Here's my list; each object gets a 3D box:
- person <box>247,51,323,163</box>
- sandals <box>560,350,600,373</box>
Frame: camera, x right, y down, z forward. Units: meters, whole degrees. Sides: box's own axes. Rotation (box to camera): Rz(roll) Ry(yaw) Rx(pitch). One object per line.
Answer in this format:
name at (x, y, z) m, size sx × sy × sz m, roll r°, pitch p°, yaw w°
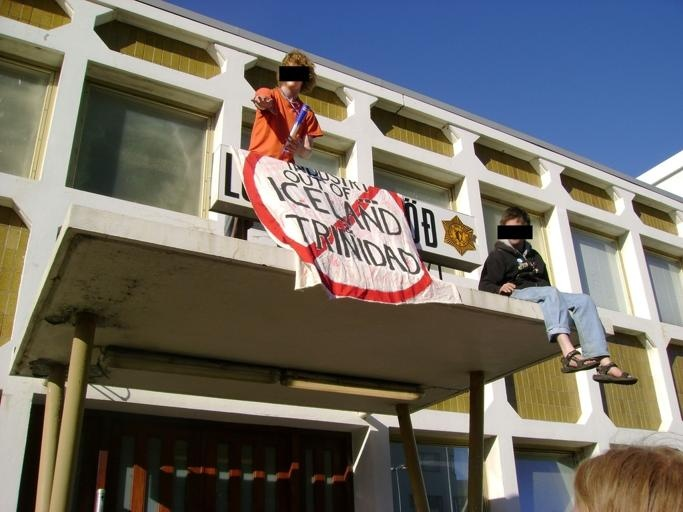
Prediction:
person at (-0.670, -1.798, 7.688) m, size 0.828 × 1.282 × 0.608 m, roll 1°, pitch -23°, yaw -3°
sandals at (2.415, 1.117, 6.556) m, size 0.176 × 0.226 × 0.447 m, roll 13°, pitch -24°, yaw -39°
